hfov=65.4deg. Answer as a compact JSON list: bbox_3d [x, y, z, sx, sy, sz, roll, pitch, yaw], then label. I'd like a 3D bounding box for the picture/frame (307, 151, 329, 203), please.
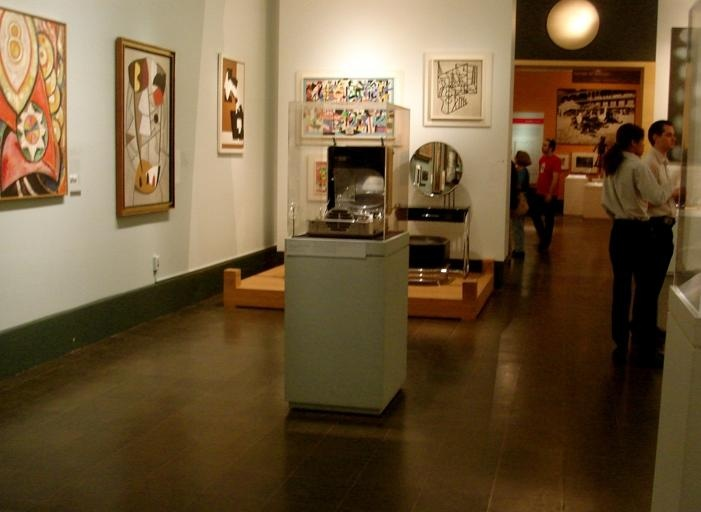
[{"bbox_3d":[-0.269,-0.619,4.312,0.160,0.368,0.090,0,6,-3],"label":"picture/frame"}]

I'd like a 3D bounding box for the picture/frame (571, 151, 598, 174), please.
[{"bbox_3d":[9.311,-3.701,21.456,0.788,0.779,0.083,2,3,20],"label":"picture/frame"}]

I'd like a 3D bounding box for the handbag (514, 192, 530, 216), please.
[{"bbox_3d":[3.497,-1.043,11.081,0.141,0.483,0.838,3,8,27],"label":"handbag"}]

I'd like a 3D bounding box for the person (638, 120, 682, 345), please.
[{"bbox_3d":[3.239,-0.222,5.691,0.297,2.360,0.873,4,7,29],"label":"person"}]

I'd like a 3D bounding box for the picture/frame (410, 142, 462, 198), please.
[{"bbox_3d":[1.444,-1.438,8.954,0.767,0.819,0.109,-3,6,-9],"label":"picture/frame"}]

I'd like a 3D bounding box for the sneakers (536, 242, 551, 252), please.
[{"bbox_3d":[4.486,-0.222,12.567,0.263,0.303,0.526,2,2,16],"label":"sneakers"}]

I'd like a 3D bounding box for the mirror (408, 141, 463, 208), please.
[{"bbox_3d":[1.439,-1.360,8.910,1.024,1.313,0.159,0,0,-2],"label":"mirror"}]

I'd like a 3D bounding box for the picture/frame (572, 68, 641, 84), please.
[{"bbox_3d":[9.575,-6.636,20.135,1.242,0.320,1.196,4,8,29],"label":"picture/frame"}]
